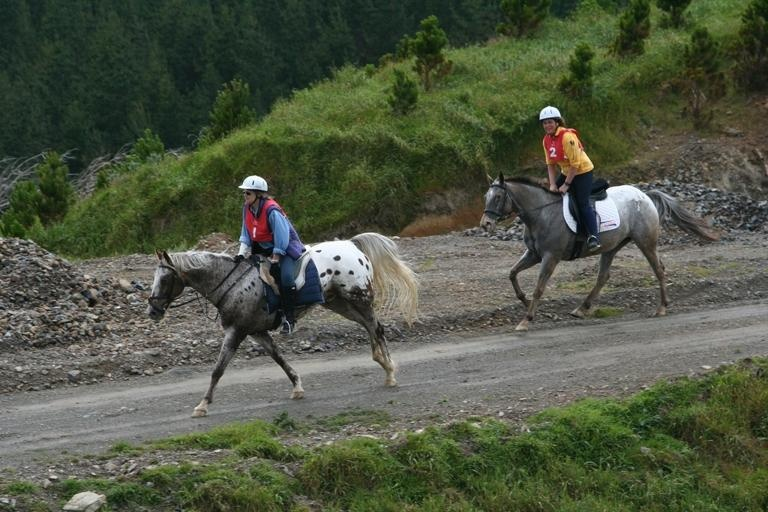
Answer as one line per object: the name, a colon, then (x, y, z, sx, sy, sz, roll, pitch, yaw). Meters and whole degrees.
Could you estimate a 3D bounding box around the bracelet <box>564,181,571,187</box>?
bracelet: (6.217, -2.348, 32.154, 0.097, 0.178, 0.173, 2, 14, 41)

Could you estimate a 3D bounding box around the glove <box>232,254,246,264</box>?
glove: (-4.361, 0.148, 28.778, 0.202, 0.287, 0.133, 33, -2, -3)
